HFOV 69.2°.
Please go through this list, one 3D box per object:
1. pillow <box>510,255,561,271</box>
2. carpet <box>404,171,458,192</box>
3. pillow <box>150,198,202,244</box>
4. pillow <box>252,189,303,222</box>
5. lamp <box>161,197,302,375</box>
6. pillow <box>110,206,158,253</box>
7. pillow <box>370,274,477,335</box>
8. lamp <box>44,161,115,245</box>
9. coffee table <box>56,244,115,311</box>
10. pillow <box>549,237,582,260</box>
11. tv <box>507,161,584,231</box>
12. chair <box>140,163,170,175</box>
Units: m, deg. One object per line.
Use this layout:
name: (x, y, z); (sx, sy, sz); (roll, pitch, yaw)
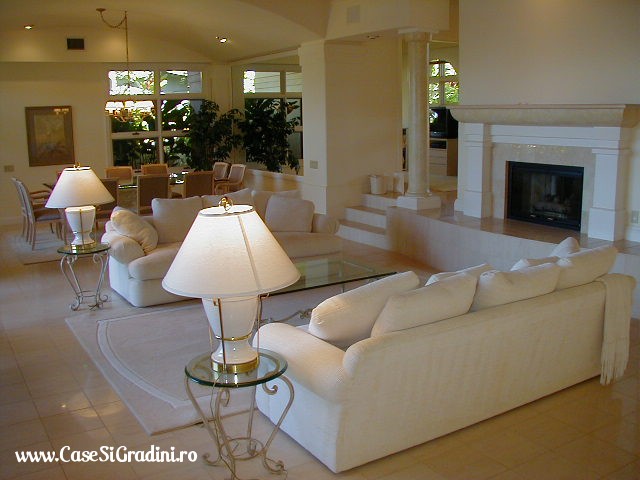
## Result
pillow: (1.865, 0.193, 3.979); (0.216, 0.066, 0.216); (-9, -2, -12)
carpet: (2.355, -1.340, 10.126); (1.028, 0.282, 2.454); (1, 14, 10)
pillow: (-1.963, -0.278, 6.189); (0.650, 0.628, 0.236); (-5, 7, -27)
pillow: (-0.615, -0.473, 6.505); (0.653, 0.657, 0.245); (-4, -1, 6)
lamp: (-0.514, 0.267, 2.710); (0.809, 0.946, 0.811); (3, 9, 38)
pillow: (-2.446, -0.141, 5.958); (0.773, 0.523, 0.417); (4, 15, 21)
pillow: (0.690, 0.426, 3.026); (0.755, 0.306, 0.182); (-8, 16, -26)
lamp: (-2.803, -0.366, 5.351); (0.648, 0.929, 0.594); (-9, 16, -30)
coffee table: (-3.096, 0.510, 6.065); (0.601, 0.717, 0.633); (-2, 19, -13)
pillow: (2.110, 0.090, 4.058); (0.189, 0.080, 0.313); (-28, 2, -16)
tv: (3.187, -0.656, 6.615); (0.171, 0.855, 1.158); (-11, 17, -34)
chair: (-3.726, -1.571, 10.317); (0.497, 0.187, 0.182); (-2, 14, -2)
